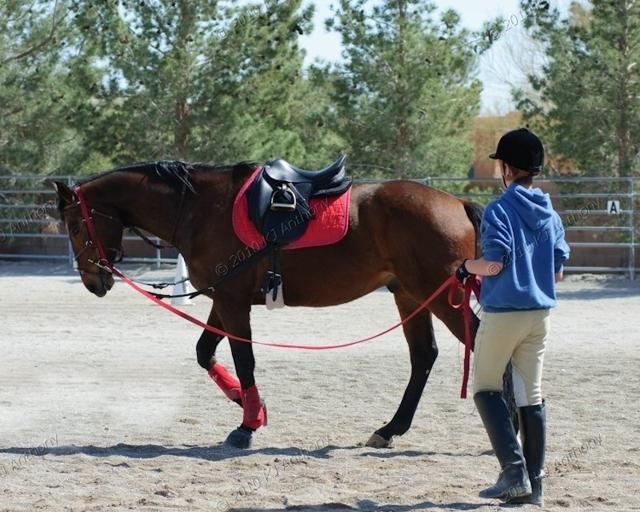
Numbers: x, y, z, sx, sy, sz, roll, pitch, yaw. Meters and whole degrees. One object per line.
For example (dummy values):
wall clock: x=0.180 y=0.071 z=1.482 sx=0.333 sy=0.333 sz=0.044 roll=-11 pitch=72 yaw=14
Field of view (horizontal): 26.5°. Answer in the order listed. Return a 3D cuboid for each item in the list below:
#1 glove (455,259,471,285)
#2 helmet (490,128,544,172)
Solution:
glove: x=1.825 y=0.196 z=17.602 sx=0.148 sy=0.204 sz=0.272 roll=-11 pitch=-39 yaw=-2
helmet: x=2.604 y=-1.343 z=17.472 sx=0.658 sy=0.403 sz=0.506 roll=28 pitch=26 yaw=31
